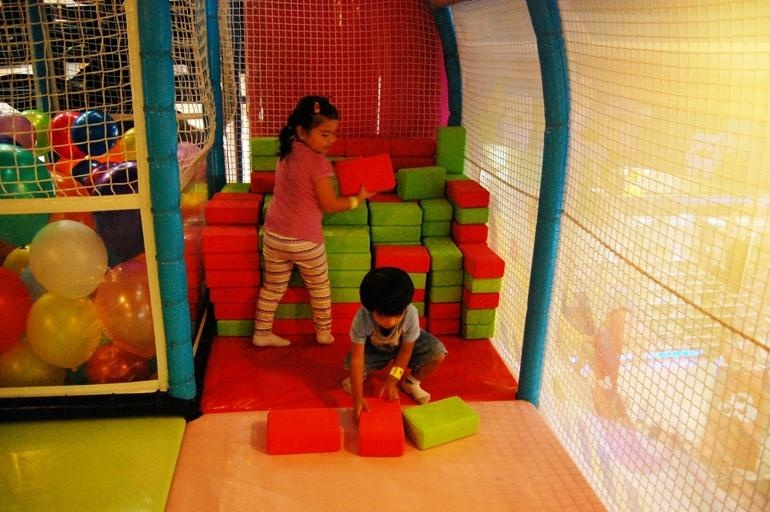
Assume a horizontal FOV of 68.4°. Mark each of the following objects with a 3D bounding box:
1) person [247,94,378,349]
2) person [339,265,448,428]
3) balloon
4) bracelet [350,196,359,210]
[{"bbox_3d":[-0.548,-0.193,3.764,0.773,1.664,0.233,-3,19,-4],"label":"person"},{"bbox_3d":[-0.010,0.459,3.322,0.656,0.926,0.505,-15,23,-34],"label":"person"},{"bbox_3d":[-1.774,-0.169,3.736,1.298,1.690,1.710,2,17,1],"label":"balloon"},{"bbox_3d":[-0.209,-0.358,3.758,0.070,0.066,0.071,-1,-9,-6],"label":"bracelet"}]
